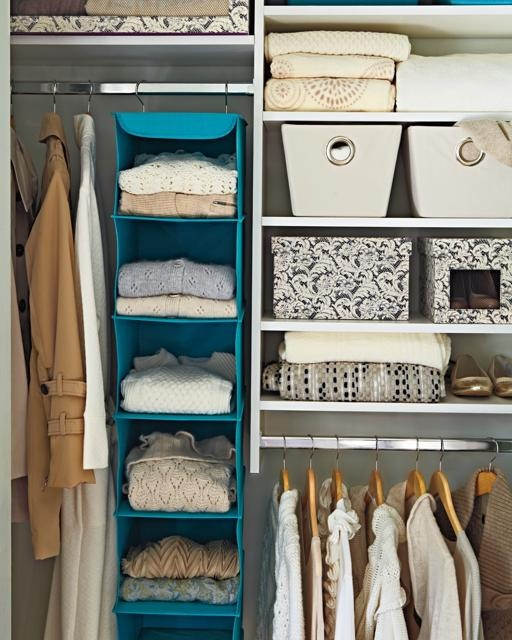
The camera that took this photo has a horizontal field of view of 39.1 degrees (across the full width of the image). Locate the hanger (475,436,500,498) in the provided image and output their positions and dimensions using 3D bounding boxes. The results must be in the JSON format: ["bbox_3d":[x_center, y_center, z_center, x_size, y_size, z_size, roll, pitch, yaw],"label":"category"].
[{"bbox_3d":[0.614,0.403,1.917,0.063,0.142,0.325,-3,-16,18],"label":"hanger"}]

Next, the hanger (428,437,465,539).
[{"bbox_3d":[0.495,0.447,1.897,0.077,0.242,0.437,-2,-15,14],"label":"hanger"}]

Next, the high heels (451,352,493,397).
[{"bbox_3d":[0.573,0.148,1.922,0.048,0.083,0.160,-1,-4,5],"label":"high heels"}]

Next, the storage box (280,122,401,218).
[{"bbox_3d":[0.217,-0.381,1.839,0.209,0.238,0.222,0,5,1],"label":"storage box"}]

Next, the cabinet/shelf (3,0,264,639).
[{"bbox_3d":[-0.379,0.063,2.053,0.732,1.692,0.706,1,-11,-2],"label":"cabinet/shelf"}]
